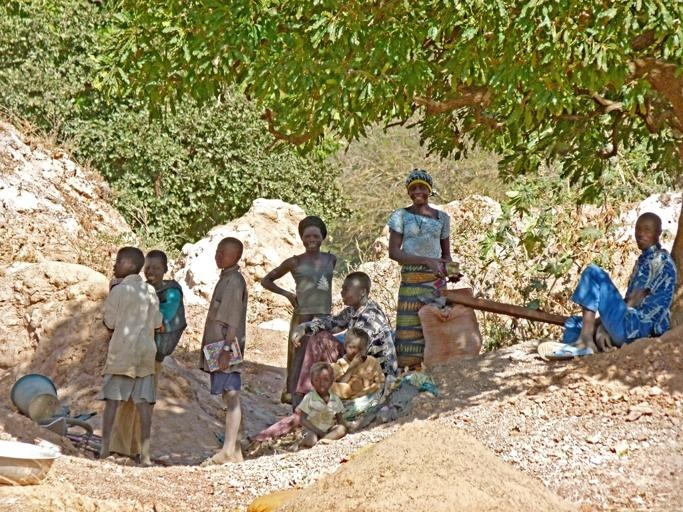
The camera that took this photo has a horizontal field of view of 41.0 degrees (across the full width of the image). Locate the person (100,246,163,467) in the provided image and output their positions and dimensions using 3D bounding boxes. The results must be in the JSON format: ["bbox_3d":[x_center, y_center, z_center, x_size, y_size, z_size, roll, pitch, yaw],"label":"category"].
[{"bbox_3d":[-2.031,1.022,8.790,0.609,2.053,0.980,-2,17,0],"label":"person"}]

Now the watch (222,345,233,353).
[{"bbox_3d":[-1.056,0.875,8.532,0.065,0.046,0.068,3,-2,-2],"label":"watch"}]

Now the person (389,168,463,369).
[{"bbox_3d":[0.883,0.142,9.860,0.726,2.085,0.755,-1,17,3],"label":"person"}]

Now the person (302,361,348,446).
[{"bbox_3d":[-0.178,1.443,8.745,0.460,0.733,0.581,-3,17,-4],"label":"person"}]

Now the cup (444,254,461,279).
[{"bbox_3d":[1.156,0.121,9.569,0.194,0.186,0.184,0,1,0],"label":"cup"}]

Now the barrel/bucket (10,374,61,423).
[{"bbox_3d":[-3.030,1.411,9.082,0.445,0.450,0.332,-14,12,-22],"label":"barrel/bucket"}]

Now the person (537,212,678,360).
[{"bbox_3d":[2.583,0.333,8.488,1.120,1.270,0.532,-8,18,-19],"label":"person"}]

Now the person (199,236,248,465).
[{"bbox_3d":[-1.100,0.944,8.620,0.462,2.077,0.989,-3,17,-4],"label":"person"}]

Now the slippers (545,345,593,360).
[{"bbox_3d":[2.154,0.916,8.566,0.343,0.108,0.163,0,-11,0],"label":"slippers"}]

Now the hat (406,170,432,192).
[{"bbox_3d":[0.857,-0.815,9.877,0.258,0.280,0.213,3,52,15],"label":"hat"}]
